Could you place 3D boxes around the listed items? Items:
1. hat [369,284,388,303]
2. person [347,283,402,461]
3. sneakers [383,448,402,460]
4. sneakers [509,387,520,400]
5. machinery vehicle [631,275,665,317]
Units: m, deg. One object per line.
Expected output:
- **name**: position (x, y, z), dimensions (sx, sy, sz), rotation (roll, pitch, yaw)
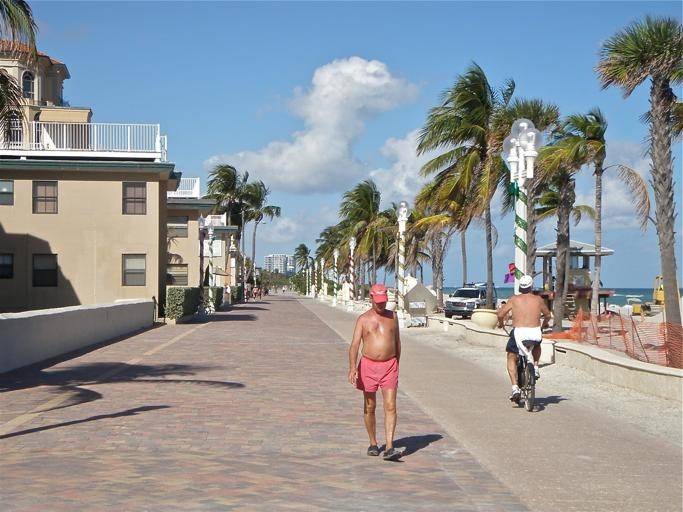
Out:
- **hat**: position (0.620, 0.614, 15.267), dimensions (0.333, 0.294, 0.547), rotation (-1, 15, -7)
- **person**: position (0.582, 1.832, 15.190), dimensions (0.850, 2.741, 0.723), rotation (1, 5, 9)
- **sneakers**: position (0.821, 3.124, 14.944), dimensions (0.313, 0.134, 0.137), rotation (-9, -11, 43)
- **sneakers**: position (3.370, 2.647, 18.205), dimensions (0.215, 0.309, 0.222), rotation (1, 5, 2)
- **machinery vehicle**: position (18.393, 2.267, 56.579), dimensions (2.246, 2.360, 0.714), rotation (6, 10, -20)
